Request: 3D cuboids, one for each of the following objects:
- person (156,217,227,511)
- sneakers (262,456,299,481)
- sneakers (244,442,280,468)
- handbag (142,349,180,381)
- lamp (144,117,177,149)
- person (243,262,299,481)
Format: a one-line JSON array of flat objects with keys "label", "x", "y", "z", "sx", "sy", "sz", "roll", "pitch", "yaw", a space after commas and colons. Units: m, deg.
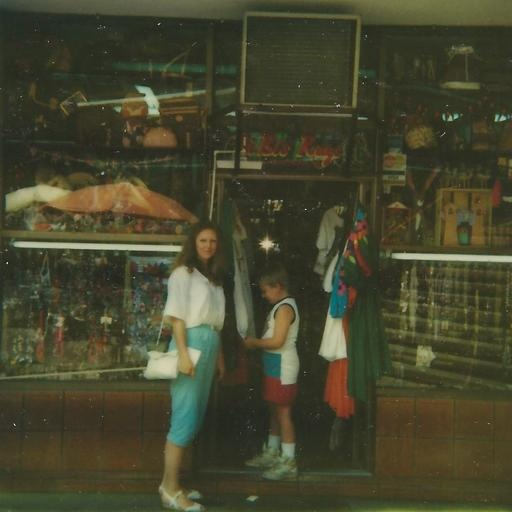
[{"label": "person", "x": -0.431, "y": 0.774, "z": 5.366, "sx": 0.292, "sy": 1.987, "sz": 0.488, "roll": 2, "pitch": 3, "yaw": 36}, {"label": "sneakers", "x": 0.186, "y": 1.560, "z": 5.651, "sx": 0.244, "sy": 0.162, "sz": 0.132, "roll": 0, "pitch": -7, "yaw": 4}, {"label": "sneakers", "x": 0.065, "y": 1.512, "z": 5.783, "sx": 0.317, "sy": 0.242, "sz": 0.113, "roll": 0, "pitch": -11, "yaw": 14}, {"label": "handbag", "x": -0.640, "y": 0.751, "z": 5.274, "sx": 0.234, "sy": 0.220, "sz": 0.092, "roll": -6, "pitch": -24, "yaw": 22}, {"label": "lamp", "x": -0.721, "y": -0.931, "z": 5.876, "sx": 0.213, "sy": 0.278, "sz": 0.227, "roll": 1, "pitch": 6, "yaw": -2}, {"label": "person", "x": 0.147, "y": 0.858, "z": 5.785, "sx": 0.382, "sy": 1.537, "sz": 0.372, "roll": 2, "pitch": 2, "yaw": 33}]
